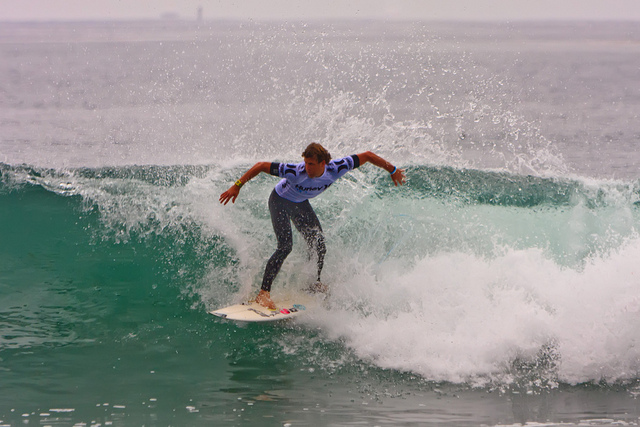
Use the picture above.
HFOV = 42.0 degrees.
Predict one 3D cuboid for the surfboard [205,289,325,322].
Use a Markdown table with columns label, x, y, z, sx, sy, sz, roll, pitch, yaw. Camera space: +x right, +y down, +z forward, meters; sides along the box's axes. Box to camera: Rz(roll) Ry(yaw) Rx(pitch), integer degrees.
| label | x | y | z | sx | sy | sz | roll | pitch | yaw |
| --- | --- | --- | --- | --- | --- | --- | --- | --- | --- |
| surfboard | -0.972 | 1.664 | 14.944 | 1.312 | 0.177 | 0.354 | -10 | 37 | -18 |
